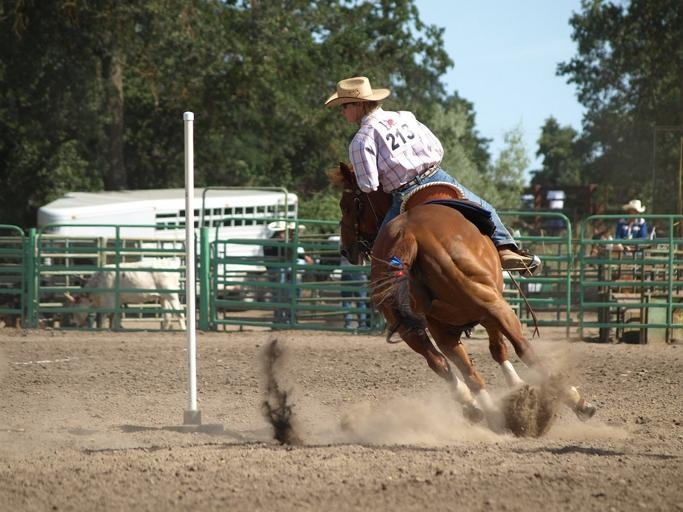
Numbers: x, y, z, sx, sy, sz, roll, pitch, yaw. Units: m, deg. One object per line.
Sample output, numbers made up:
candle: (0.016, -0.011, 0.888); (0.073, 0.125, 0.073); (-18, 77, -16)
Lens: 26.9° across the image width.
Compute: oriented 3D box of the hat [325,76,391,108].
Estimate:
hat: (0.328, -3.243, 28.187); (0.839, 0.342, 0.718); (-10, 5, 17)

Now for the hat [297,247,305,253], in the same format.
hat: (-0.989, -0.157, 35.226); (0.237, 0.134, 0.158); (-2, -4, -33)

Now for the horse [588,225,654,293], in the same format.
horse: (6.674, -0.158, 33.806); (0.879, 1.597, 2.287); (2, 3, 3)

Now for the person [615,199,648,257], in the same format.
person: (6.835, -0.714, 33.822); (0.769, 1.170, 0.793); (6, -7, -11)
